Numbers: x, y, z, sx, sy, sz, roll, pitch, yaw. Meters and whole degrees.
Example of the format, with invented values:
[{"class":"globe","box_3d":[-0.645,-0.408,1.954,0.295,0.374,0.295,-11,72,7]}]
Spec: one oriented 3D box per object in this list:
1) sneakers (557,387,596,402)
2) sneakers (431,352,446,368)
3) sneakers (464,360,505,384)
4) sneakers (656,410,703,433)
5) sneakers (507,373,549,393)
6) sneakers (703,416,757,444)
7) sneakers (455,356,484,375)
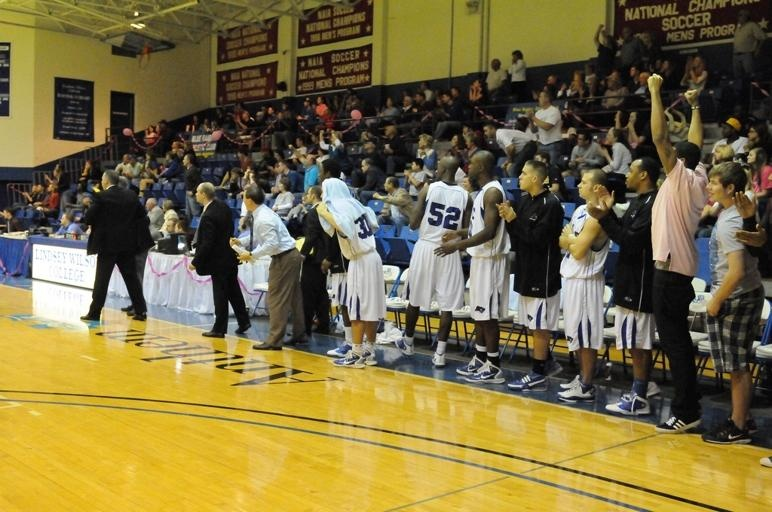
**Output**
[{"class":"sneakers","box_3d":[2.106,1.510,7.645,0.413,0.176,0.150,0,0,-3]},{"class":"sneakers","box_3d":[0.698,1.296,8.846,0.157,0.200,0.240,2,8,5]},{"class":"sneakers","box_3d":[1.182,1.360,8.227,0.484,0.257,0.203,2,8,6]},{"class":"sneakers","box_3d":[2.900,1.618,6.845,0.480,0.203,0.178,-1,-2,1]},{"class":"sneakers","box_3d":[1.647,1.450,7.950,0.496,0.219,0.176,1,-3,-5]},{"class":"sneakers","box_3d":[3.377,1.682,6.732,0.614,0.240,0.205,1,-4,-6]},{"class":"sneakers","box_3d":[1.016,1.347,8.501,0.149,0.186,0.431,4,-4,-42]}]
